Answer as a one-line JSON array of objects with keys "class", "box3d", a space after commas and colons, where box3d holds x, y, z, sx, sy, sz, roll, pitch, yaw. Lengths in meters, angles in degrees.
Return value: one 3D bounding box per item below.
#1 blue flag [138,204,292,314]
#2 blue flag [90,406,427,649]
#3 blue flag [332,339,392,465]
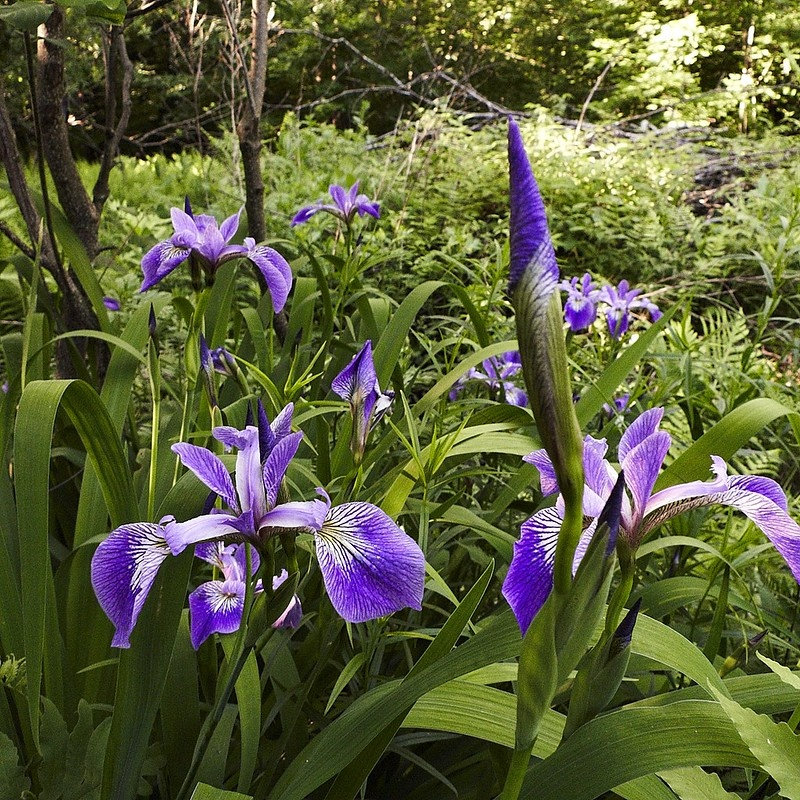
[{"class": "blue flag", "box3d": [-0.393, -0.320, 1.744, 0.236, 0.178, 0.281, 23, 44, 20]}, {"class": "blue flag", "box3d": [-0.216, 0.180, 1.065, 0.248, 0.334, 0.404, -5, -13, 26]}, {"class": "blue flag", "box3d": [-0.068, 0.011, 1.339, 0.078, 0.221, 0.044, 8, 4, 3]}]
